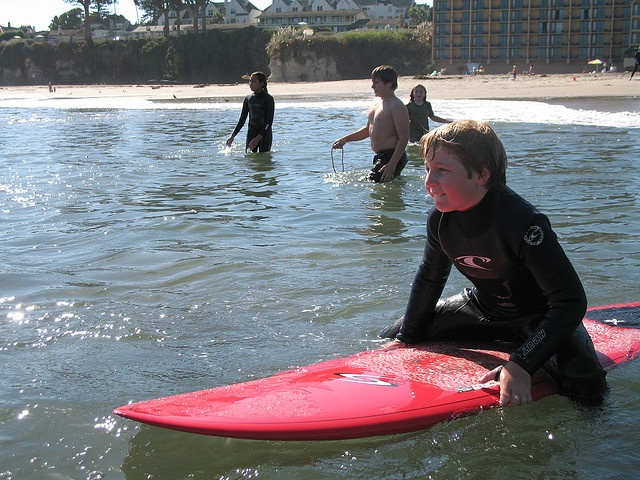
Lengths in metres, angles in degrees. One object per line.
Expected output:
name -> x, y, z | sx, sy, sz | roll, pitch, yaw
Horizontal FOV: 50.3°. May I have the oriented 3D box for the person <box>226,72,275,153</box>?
person -> -1.142, -2.054, 11.169 | 0.747, 1.270, 1.160 | -4, 12, -6
